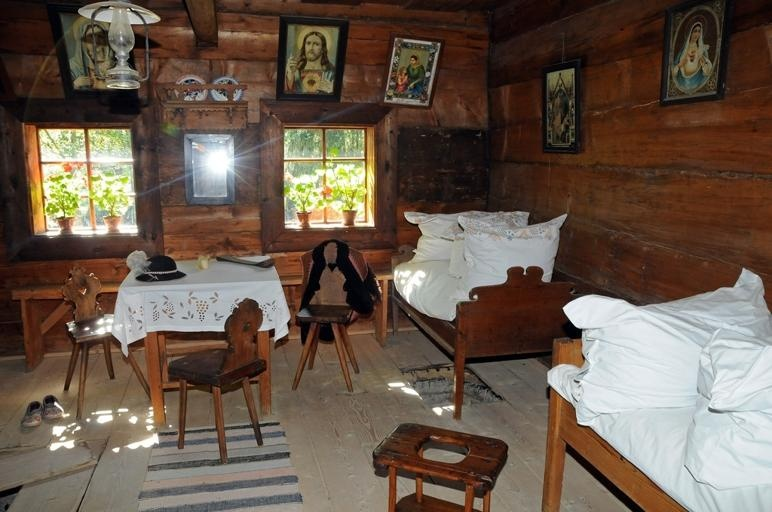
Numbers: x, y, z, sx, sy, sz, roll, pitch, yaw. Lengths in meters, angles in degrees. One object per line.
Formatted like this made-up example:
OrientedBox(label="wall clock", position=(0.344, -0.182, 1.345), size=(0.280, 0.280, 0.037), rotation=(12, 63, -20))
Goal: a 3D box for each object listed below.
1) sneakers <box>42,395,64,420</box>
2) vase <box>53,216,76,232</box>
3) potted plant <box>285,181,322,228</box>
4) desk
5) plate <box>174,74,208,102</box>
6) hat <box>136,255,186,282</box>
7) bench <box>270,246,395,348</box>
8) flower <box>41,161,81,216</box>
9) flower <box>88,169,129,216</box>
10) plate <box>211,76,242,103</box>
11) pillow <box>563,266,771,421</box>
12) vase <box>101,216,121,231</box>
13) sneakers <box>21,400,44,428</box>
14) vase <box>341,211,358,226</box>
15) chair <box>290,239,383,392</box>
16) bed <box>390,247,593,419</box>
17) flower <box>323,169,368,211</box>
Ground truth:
OrientedBox(label="sneakers", position=(-2.695, 1.227, 4.071), size=(0.130, 0.084, 0.221), rotation=(-11, 44, -36))
OrientedBox(label="vase", position=(-3.251, -0.322, 5.105), size=(0.169, 0.119, 0.160), rotation=(1, 1, 5))
OrientedBox(label="potted plant", position=(-0.919, -0.589, 5.813), size=(0.533, 0.477, 0.500), rotation=(1, 0, -15))
OrientedBox(label="desk", position=(-1.575, 0.712, 4.582), size=(1.431, 1.074, 1.295), rotation=(-2, 16, -11))
OrientedBox(label="plate", position=(-1.968, -1.691, 5.086), size=(0.322, 0.288, 0.089), rotation=(-3, -1, -18))
OrientedBox(label="hat", position=(-1.822, 0.114, 4.045), size=(0.262, 0.099, 0.250), rotation=(1, 6, 18))
OrientedBox(label="bench", position=(-0.577, 0.271, 5.704), size=(1.667, 1.096, 1.012), rotation=(-2, 6, -13))
OrientedBox(label="flower", position=(-3.325, -0.682, 5.116), size=(0.541, 0.473, 0.399), rotation=(-5, 4, 38))
OrientedBox(label="flower", position=(-2.842, -0.646, 5.210), size=(0.347, 0.458, 0.151), rotation=(-3, 11, -5))
OrientedBox(label="plate", position=(-1.648, -1.697, 5.147), size=(0.318, 0.279, 0.078), rotation=(1, 7, -13))
OrientedBox(label="pillow", position=(1.551, 0.554, 2.786), size=(1.121, 0.682, 0.500), rotation=(-3, 10, -8))
OrientedBox(label="vase", position=(-2.848, -0.335, 5.231), size=(0.170, 0.171, 0.163), rotation=(-5, 11, -20))
OrientedBox(label="sneakers", position=(-2.833, 1.271, 4.027), size=(0.126, 0.079, 0.219), rotation=(3, 28, -24))
OrientedBox(label="vase", position=(-0.399, -0.427, 5.697), size=(0.191, 0.186, 0.137), rotation=(-7, 12, -29))
OrientedBox(label="chair", position=(-0.464, 0.494, 4.707), size=(0.796, 1.294, 0.782), rotation=(-2, 10, -1))
OrientedBox(label="bed", position=(0.877, 0.479, 4.468), size=(0.929, 0.893, 1.467), rotation=(-2, 10, -15))
OrientedBox(label="flower", position=(-0.462, -0.761, 5.666), size=(0.512, 0.458, 0.147), rotation=(-4, 3, -12))
